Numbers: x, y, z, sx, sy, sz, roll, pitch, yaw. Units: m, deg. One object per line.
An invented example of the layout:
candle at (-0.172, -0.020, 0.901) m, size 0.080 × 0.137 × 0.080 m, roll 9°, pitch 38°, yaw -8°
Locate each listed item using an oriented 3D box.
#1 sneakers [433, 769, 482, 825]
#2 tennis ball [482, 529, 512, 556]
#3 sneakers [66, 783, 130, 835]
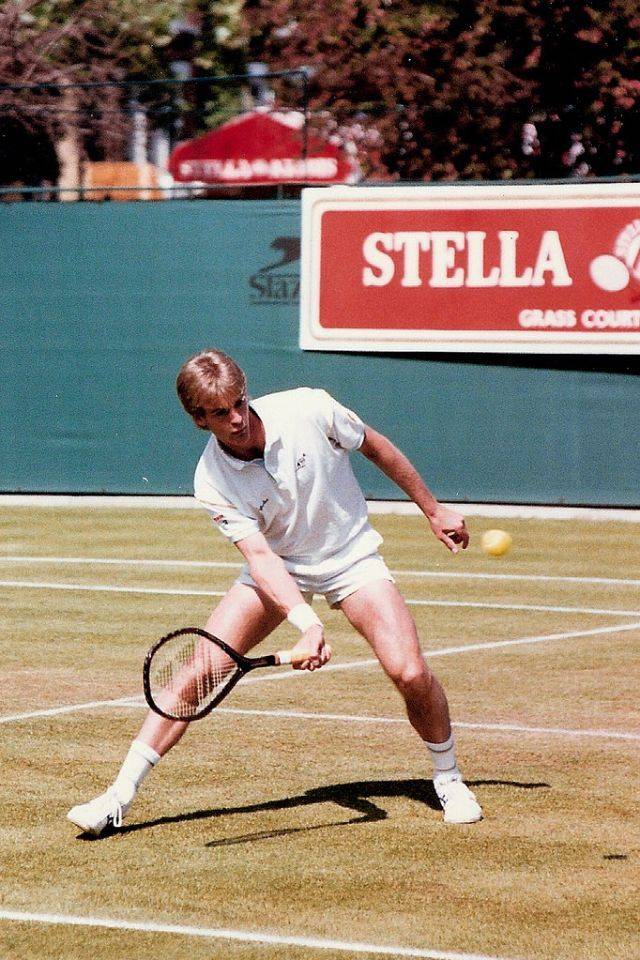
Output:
sneakers at (0.544, 1.276, 7.268) m, size 0.099 × 0.115 × 0.253 m, roll -9°, pitch 3°, yaw -12°
tennis ball at (0.778, 0.282, 8.262) m, size 0.130 × 0.136 × 0.132 m, roll 2°, pitch -7°, yaw 0°
sneakers at (-0.847, 1.286, 7.022) m, size 0.152 × 0.119 × 0.320 m, roll -28°, pitch -4°, yaw -3°
